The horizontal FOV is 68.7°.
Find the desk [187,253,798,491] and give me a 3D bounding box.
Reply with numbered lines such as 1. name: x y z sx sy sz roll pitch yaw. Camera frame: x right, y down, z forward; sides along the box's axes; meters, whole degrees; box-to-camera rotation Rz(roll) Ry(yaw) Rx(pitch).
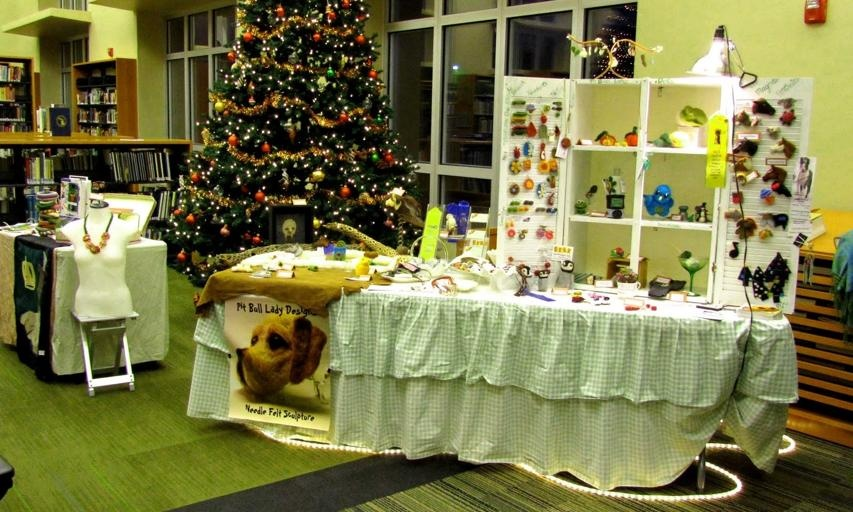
1. desk: 0.207 0.819 4.885 4.529 1.128 0.889 3 10 19

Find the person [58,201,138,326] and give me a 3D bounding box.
1. person: -2.746 0.045 5.275 0.545 1.011 0.240 0 7 -27
